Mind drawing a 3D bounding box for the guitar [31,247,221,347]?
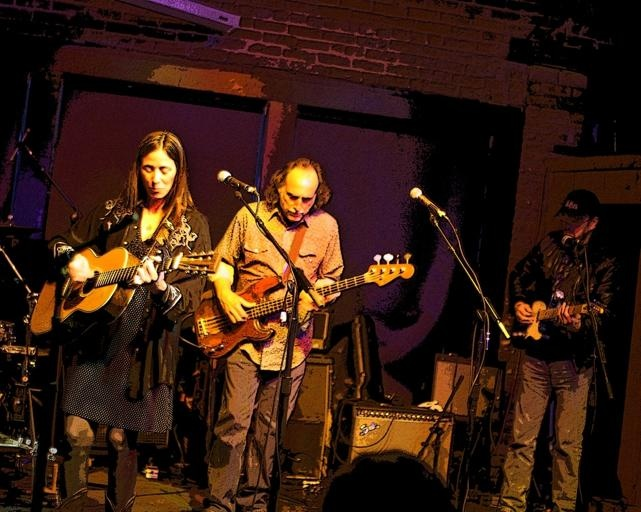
[{"bbox_3d":[-1.032,0.123,3.475,1.106,0.535,0.159,-13,-41,19],"label":"guitar"}]

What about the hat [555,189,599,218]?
[{"bbox_3d":[1.947,-0.393,4.939,0.268,0.151,0.189,2,4,-29],"label":"hat"}]

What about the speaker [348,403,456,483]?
[{"bbox_3d":[0.509,1.207,4.230,0.495,0.478,0.178,6,-16,-6],"label":"speaker"}]

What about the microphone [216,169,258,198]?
[{"bbox_3d":[-0.452,-0.401,3.699,0.217,0.104,0.322,7,-5,3],"label":"microphone"}]

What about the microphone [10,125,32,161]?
[{"bbox_3d":[-2.304,-0.879,5.026,0.125,0.252,0.315,9,-5,-26],"label":"microphone"}]

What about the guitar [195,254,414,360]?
[{"bbox_3d":[-0.173,0.291,4.091,1.443,0.495,0.194,-18,-24,16],"label":"guitar"}]
